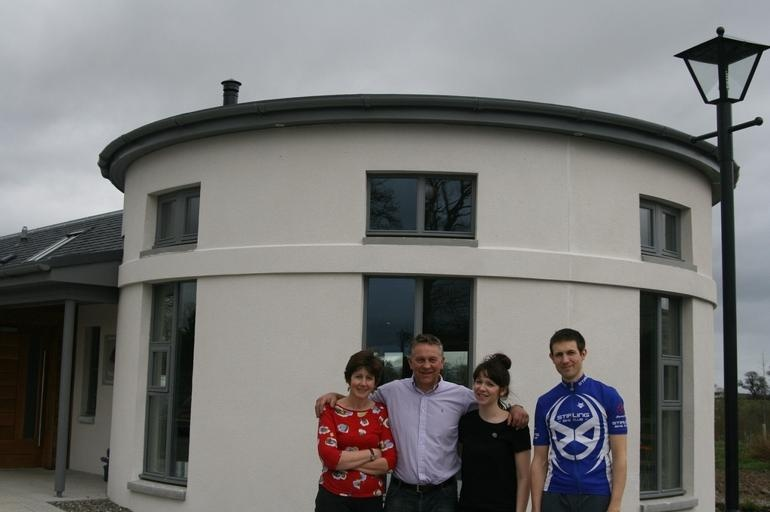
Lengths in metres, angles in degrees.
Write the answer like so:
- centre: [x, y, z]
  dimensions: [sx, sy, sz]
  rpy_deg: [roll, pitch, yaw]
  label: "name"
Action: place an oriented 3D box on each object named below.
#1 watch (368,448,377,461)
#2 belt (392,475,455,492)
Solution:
- centre: [-0.141, 2.063, 8.542]
  dimensions: [0.064, 0.120, 0.107]
  rpy_deg: [-1, 30, -6]
  label: "watch"
- centre: [0.385, 2.398, 8.688]
  dimensions: [0.705, 0.168, 0.180]
  rpy_deg: [-2, 0, 2]
  label: "belt"
